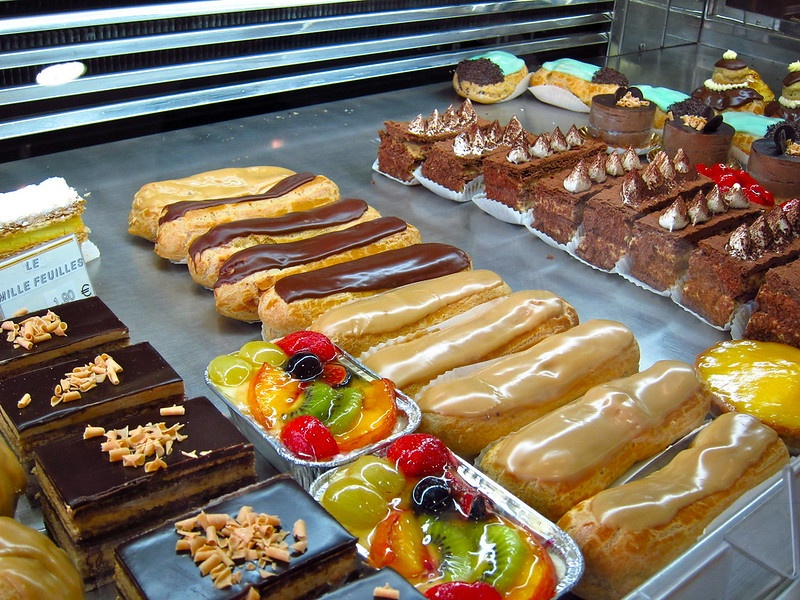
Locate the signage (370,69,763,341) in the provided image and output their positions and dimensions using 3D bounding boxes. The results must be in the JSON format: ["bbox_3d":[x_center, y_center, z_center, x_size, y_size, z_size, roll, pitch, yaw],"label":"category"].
[{"bbox_3d":[1.004,-0.585,3.720,2.690,0.477,1.572,25,41,33],"label":"signage"}]

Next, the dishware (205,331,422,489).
[{"bbox_3d":[-0.337,0.357,2.181,0.538,0.225,0.734,-22,35,-39],"label":"dishware"}]
